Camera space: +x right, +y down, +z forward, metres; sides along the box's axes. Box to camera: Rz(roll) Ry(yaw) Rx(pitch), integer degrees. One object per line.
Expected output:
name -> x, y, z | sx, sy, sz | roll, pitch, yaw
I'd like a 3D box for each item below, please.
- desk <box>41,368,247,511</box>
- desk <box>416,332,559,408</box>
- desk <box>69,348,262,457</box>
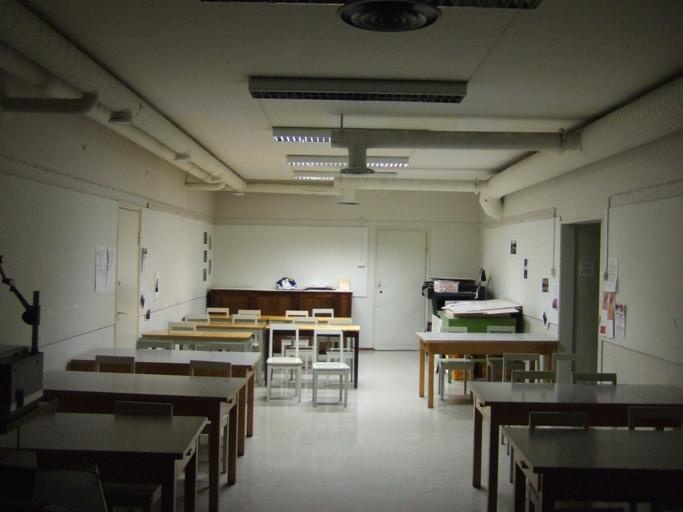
desk -> -1.775, 1.932, 4.906 | 1.543, 0.869, 1.193 | 0, -2, 5
desk -> 2.040, 1.853, 7.843 | 1.809, 0.941, 1.027 | 0, -3, -2
desk -> -1.788, 1.855, 6.099 | 1.964, 1.021, 1.098 | 1, -2, 1
